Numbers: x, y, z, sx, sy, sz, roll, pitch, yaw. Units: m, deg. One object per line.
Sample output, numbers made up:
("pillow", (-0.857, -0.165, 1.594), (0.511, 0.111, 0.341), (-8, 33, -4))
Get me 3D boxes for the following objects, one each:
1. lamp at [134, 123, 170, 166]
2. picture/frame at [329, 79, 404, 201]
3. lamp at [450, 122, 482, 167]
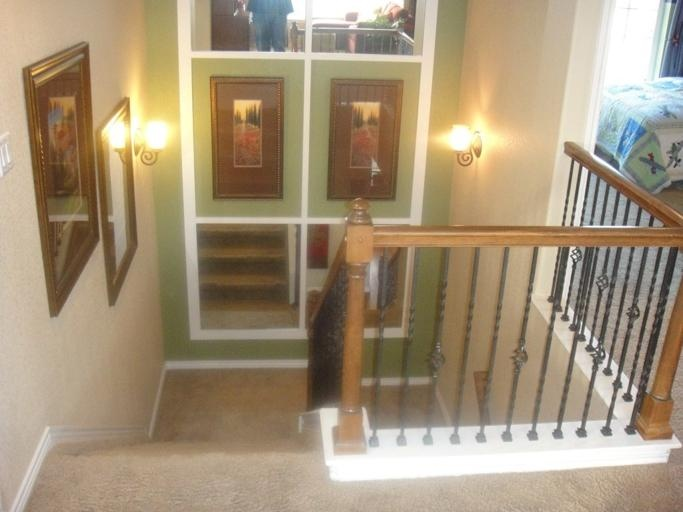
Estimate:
("lamp", (-2.044, -1.145, 5.734), (0.273, 0.391, 0.254), (-12, -3, 29))
("picture/frame", (0.252, -1.283, 6.272), (0.827, 1.356, 0.054), (5, 19, 10))
("lamp", (1.309, -1.158, 5.837), (0.259, 0.445, 0.606), (0, 13, 1))
